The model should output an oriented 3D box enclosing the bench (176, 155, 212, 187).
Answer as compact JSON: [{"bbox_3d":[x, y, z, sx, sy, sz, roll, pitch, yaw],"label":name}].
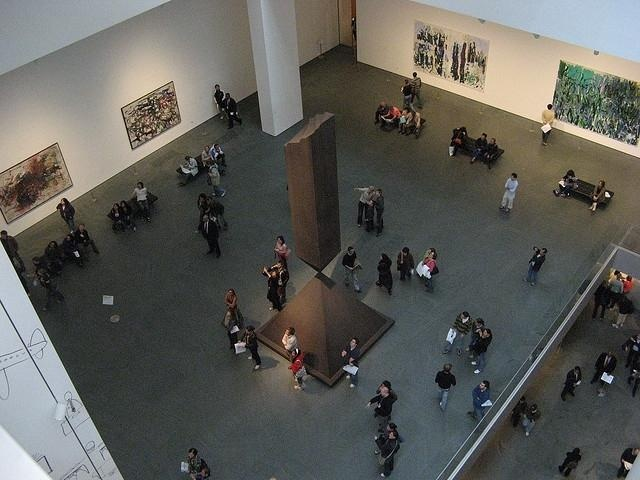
[{"bbox_3d":[-4.914,-2.668,18.479,1.386,0.513,1.056,-36,59,-16],"label":"bench"}]

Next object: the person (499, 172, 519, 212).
[{"bbox_3d":[6.558,-1.821,16.566,0.482,1.484,1.270,13,33,21],"label":"person"}]

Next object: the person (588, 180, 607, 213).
[{"bbox_3d":[9.494,-1.445,16.523,0.574,1.032,0.370,-37,51,-12],"label":"person"}]

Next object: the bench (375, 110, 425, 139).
[{"bbox_3d":[3.373,-4.859,19.772,1.821,0.968,0.728,8,32,11],"label":"bench"}]

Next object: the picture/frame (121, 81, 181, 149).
[{"bbox_3d":[-6.659,-5.007,18.883,0.037,1.804,2.407,25,50,27],"label":"picture/frame"}]

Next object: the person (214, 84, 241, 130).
[{"bbox_3d":[-3.849,-5.732,20.634,0.792,1.607,1.237,-20,36,-30],"label":"person"}]

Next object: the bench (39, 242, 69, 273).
[{"bbox_3d":[-8.461,0.559,15.447,0.504,1.025,0.406,6,11,25],"label":"bench"}]

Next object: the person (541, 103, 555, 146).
[{"bbox_3d":[8.836,-4.519,18.788,0.495,1.415,1.312,14,34,23],"label":"person"}]

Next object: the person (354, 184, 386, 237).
[{"bbox_3d":[1.749,-1.089,16.108,0.908,1.598,0.768,9,32,15],"label":"person"}]

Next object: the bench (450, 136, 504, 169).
[{"bbox_3d":[6.042,-3.501,18.443,1.738,0.959,0.885,19,36,27],"label":"bench"}]

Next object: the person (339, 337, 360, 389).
[{"bbox_3d":[0.793,3.277,12.653,0.407,1.271,0.464,-21,58,-13],"label":"person"}]

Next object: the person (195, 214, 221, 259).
[{"bbox_3d":[-3.543,-0.277,15.646,0.590,1.678,0.763,-8,31,-13],"label":"person"}]

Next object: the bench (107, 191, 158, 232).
[{"bbox_3d":[-6.493,-1.054,17.109,1.597,0.390,1.188,-35,67,-25],"label":"bench"}]
